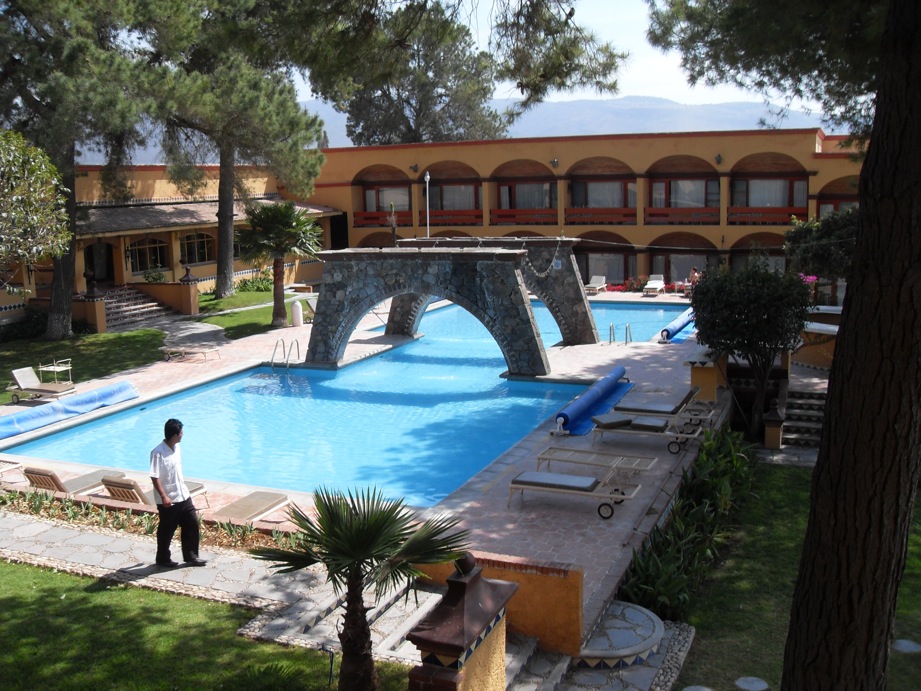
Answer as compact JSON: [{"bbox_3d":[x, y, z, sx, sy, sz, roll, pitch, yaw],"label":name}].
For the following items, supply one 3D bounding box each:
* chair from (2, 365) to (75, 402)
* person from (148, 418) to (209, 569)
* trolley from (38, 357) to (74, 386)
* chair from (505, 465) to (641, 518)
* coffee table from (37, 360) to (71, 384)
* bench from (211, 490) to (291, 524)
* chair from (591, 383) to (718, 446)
[{"bbox_3d":[-13.108,1.259,18.962,2.456,0.955,1.211,3,11,25],"label":"chair"},{"bbox_3d":[-4.176,2.167,8.710,0.662,2.291,0.554,-9,16,-25],"label":"person"},{"bbox_3d":[-13.840,0.935,20.789,0.837,0.536,0.801,0,0,10],"label":"trolley"},{"bbox_3d":[2.002,2.627,11.345,1.960,0.427,0.935,2,13,18],"label":"chair"},{"bbox_3d":[-13.852,0.943,20.706,0.805,0.513,0.763,0,0,14],"label":"coffee table"},{"bbox_3d":[-3.809,2.940,10.993,0.444,0.174,0.791,4,8,20],"label":"bench"},{"bbox_3d":[4.757,1.808,14.715,1.729,0.751,1.618,3,8,22],"label":"chair"}]
